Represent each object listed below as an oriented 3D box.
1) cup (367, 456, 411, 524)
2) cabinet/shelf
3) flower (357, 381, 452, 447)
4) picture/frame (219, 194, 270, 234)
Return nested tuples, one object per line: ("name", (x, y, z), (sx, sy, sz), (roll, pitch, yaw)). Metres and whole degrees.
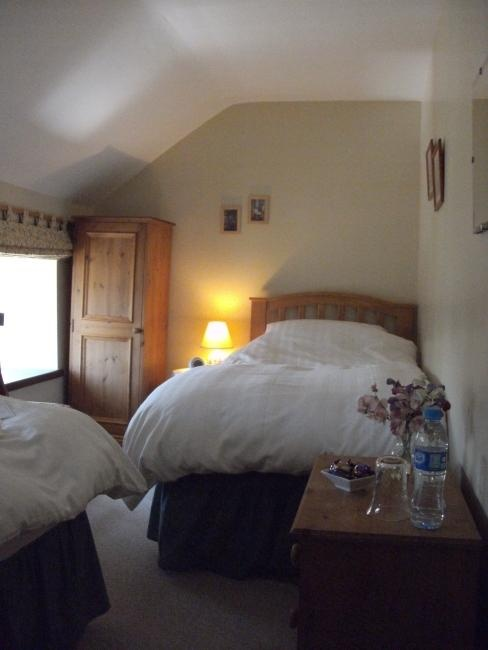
("cup", (0.354, 0.399, 1.253), (0.129, 0.142, 0.122), (3, 0, 0))
("cabinet/shelf", (-1.090, 0.032, 3.912), (0.572, 1.604, 0.424), (1, 2, -30))
("flower", (0.498, 0.243, 1.520), (0.231, 0.238, 0.225), (14, -23, -39))
("picture/frame", (0.004, -0.860, 3.972), (0.386, 0.289, 0.032), (2, 2, 14))
